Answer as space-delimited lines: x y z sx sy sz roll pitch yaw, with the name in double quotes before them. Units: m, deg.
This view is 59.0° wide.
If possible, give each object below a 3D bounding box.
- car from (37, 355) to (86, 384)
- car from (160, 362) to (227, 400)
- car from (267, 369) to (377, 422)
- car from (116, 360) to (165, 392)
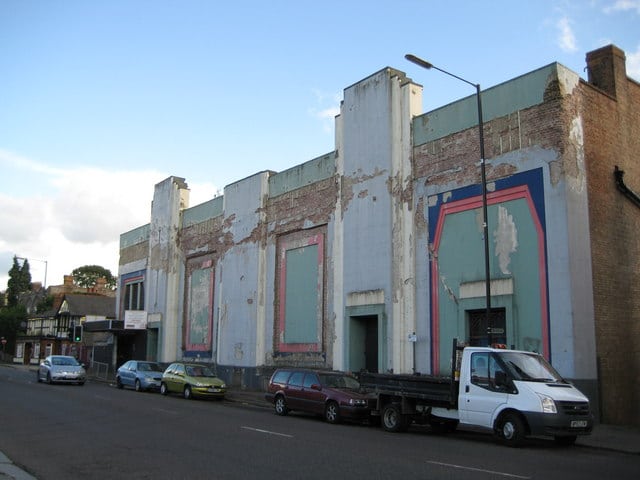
"car" -16.712 8.388 36.535 3.447 1.862 1.719 -11 -16 37
"car" -6.757 7.457 30.059 1.561 1.976 4.138 11 -18 -43
"car" 0.148 5.848 21.517 1.189 2.030 5.207 10 -17 -41
"car" -10.911 8.309 34.345 1.727 1.467 3.952 7 -16 -32
